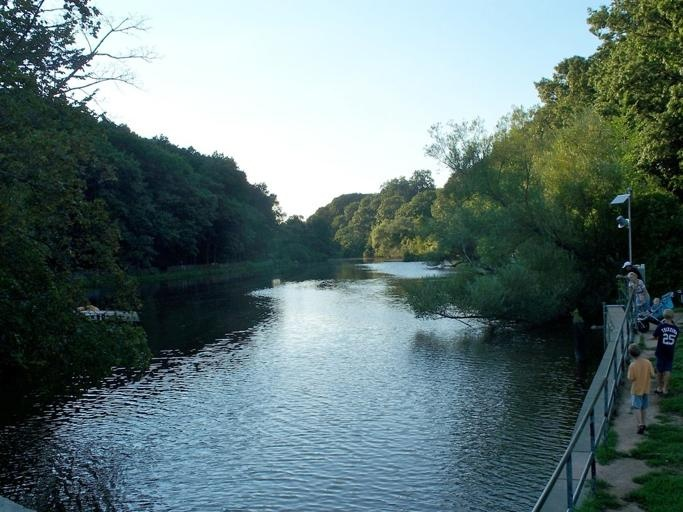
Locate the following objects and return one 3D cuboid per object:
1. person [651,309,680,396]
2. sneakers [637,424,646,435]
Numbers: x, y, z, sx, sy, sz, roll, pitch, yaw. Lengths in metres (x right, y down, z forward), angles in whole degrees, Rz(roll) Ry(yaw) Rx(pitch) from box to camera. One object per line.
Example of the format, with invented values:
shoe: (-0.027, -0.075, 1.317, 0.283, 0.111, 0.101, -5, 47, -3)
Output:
person: (9.906, 2.943, 19.275, 0.618, 2.705, 0.788, 4, 9, 29)
sneakers: (8.392, 4.831, 17.582, 0.107, 0.158, 0.339, 0, 14, 20)
